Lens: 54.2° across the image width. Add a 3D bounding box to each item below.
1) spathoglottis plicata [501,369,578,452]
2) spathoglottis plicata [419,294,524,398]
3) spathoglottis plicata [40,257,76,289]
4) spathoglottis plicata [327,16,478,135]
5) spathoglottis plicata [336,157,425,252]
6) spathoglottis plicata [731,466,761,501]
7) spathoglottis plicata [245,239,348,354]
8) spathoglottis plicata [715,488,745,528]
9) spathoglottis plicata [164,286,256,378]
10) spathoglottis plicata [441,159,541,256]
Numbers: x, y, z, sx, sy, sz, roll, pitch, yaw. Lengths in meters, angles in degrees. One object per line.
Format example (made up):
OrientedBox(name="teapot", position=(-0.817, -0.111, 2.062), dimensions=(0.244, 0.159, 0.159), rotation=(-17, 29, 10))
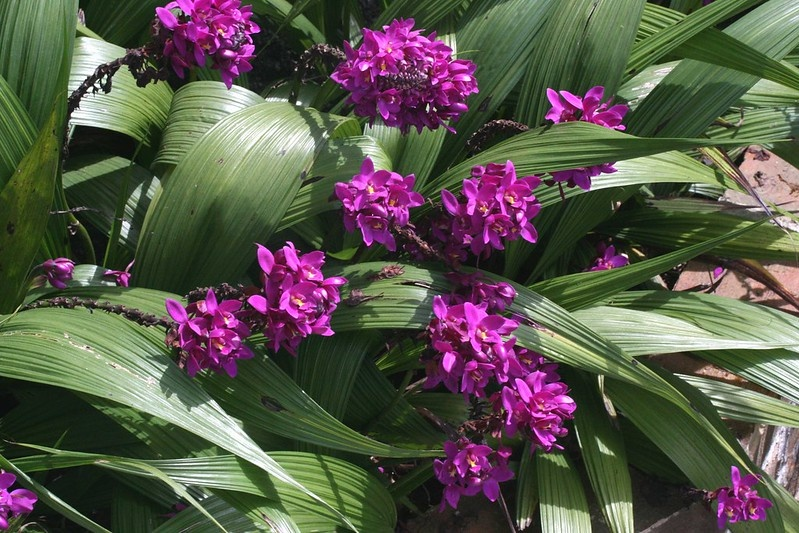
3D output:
OrientedBox(name="spathoglottis plicata", position=(0.290, 0.297, 1.684), dimensions=(0.165, 0.163, 0.092), rotation=(40, -1, 3))
OrientedBox(name="spathoglottis plicata", position=(0.139, 0.148, 1.633), dimensions=(0.199, 0.200, 0.140), rotation=(35, -2, -4))
OrientedBox(name="spathoglottis plicata", position=(-0.712, 0.013, 1.607), dimensions=(0.074, 0.057, 0.045), rotation=(8, -10, 31))
OrientedBox(name="spathoglottis plicata", position=(0.025, -0.380, 1.599), dimensions=(0.258, 0.150, 0.254), rotation=(6, 67, -22))
OrientedBox(name="spathoglottis plicata", position=(-0.047, -0.127, 1.554), dimensions=(0.165, 0.145, 0.080), rotation=(25, 27, 3))
OrientedBox(name="spathoglottis plicata", position=(0.777, 0.484, 1.779), dimensions=(0.074, 0.075, 0.035), rotation=(-19, 13, -11))
OrientedBox(name="spathoglottis plicata", position=(-0.201, 0.059, 1.480), dimensions=(0.179, 0.188, 0.116), rotation=(20, 27, -7))
OrientedBox(name="spathoglottis plicata", position=(0.745, 0.540, 1.766), dimensions=(0.081, 0.081, 0.039), rotation=(-27, 24, -20))
OrientedBox(name="spathoglottis plicata", position=(-0.374, 0.109, 1.493), dimensions=(0.184, 0.132, 0.148), rotation=(-4, 32, -42))
OrientedBox(name="spathoglottis plicata", position=(0.188, -0.123, 1.602), dimensions=(0.179, 0.197, 0.162), rotation=(2, 33, -36))
